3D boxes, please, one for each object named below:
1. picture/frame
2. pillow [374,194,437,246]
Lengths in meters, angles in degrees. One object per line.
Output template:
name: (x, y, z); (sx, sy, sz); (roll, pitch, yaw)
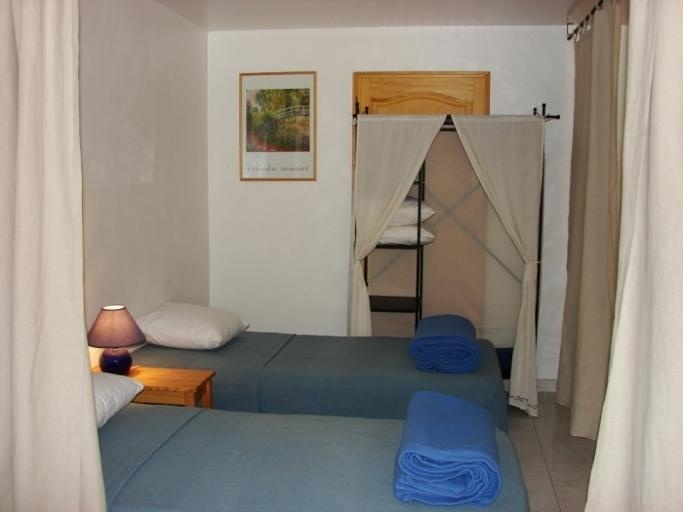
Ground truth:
picture/frame: (-0.507, -1.100, 4.845); (0.815, 1.175, 0.040); (1, 7, 10)
pillow: (0.485, -0.296, 4.504); (0.343, 0.379, 0.107); (1, 9, 5)
